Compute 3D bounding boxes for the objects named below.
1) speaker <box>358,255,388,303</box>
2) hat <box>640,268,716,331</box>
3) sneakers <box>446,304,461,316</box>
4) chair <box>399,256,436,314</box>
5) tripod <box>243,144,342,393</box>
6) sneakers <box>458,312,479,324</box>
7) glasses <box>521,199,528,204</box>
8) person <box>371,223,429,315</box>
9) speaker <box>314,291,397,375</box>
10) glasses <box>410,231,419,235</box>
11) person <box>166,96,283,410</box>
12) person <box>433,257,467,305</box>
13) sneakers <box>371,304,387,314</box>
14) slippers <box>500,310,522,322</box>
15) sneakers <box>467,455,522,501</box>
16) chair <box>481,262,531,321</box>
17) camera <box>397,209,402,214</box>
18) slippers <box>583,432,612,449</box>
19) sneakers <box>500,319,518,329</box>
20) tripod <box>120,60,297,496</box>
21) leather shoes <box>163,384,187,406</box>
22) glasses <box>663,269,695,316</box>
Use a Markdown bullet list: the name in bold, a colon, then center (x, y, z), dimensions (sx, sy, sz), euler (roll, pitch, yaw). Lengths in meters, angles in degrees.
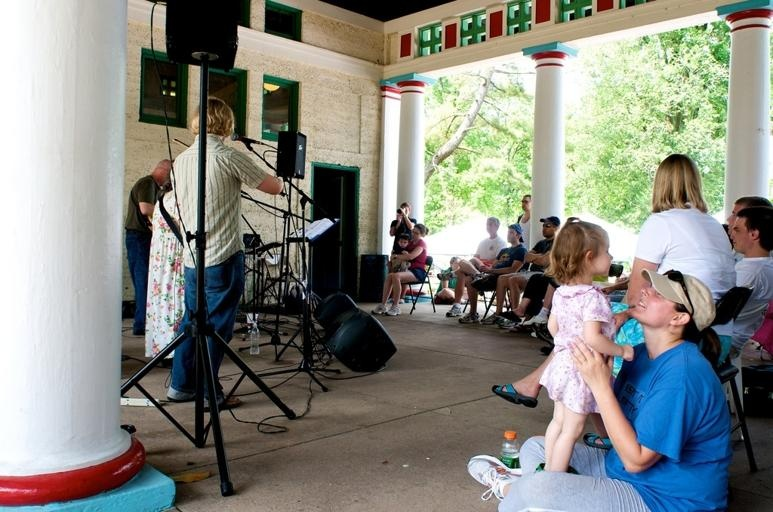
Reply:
- **speaker**: center (-0.314, 0.447, 12.341), dimensions (0.585, 0.835, 0.564), euler (-5, 3, 10)
- **hat**: center (1.321, 0.183, 2.803), dimensions (0.315, 0.163, 0.209), euler (40, 9, 2)
- **sneakers**: center (1.069, 0.875, 9.702), dimensions (0.124, 0.144, 0.352), euler (0, -5, 30)
- **chair**: center (0.575, 0.481, 11.075), dimensions (0.668, 0.893, 0.528), euler (-9, 8, -2)
- **tripod**: center (-1.128, -0.213, 6.836), dimensions (1.167, 2.432, 1.015), euler (-7, 34, -14)
- **sneakers**: center (1.216, 0.933, 8.950), dimensions (0.336, 0.138, 0.120), euler (0, -3, -13)
- **glasses**: center (2.329, -0.905, 10.347), dimensions (0.064, 0.045, 0.088), euler (-4, -8, 41)
- **person**: center (0.259, 0.218, 9.792), dimensions (0.853, 1.442, 0.641), euler (1, 7, -10)
- **speaker**: center (-0.348, 0.758, 6.096), dimensions (0.596, 0.601, 0.919), euler (-1, 6, -22)
- **glasses**: center (0.452, -0.360, 9.816), dimensions (0.088, 0.065, 0.099), euler (12, 32, 1)
- **person**: center (-1.180, 0.016, 4.625), dimensions (0.936, 2.313, 0.749), euler (5, 7, 29)
- **person**: center (1.219, 0.400, 11.089), dimensions (0.685, 0.767, 0.640), euler (-7, 7, -36)
- **sneakers**: center (-0.091, 0.860, 9.802), dimensions (0.131, 0.100, 0.249), euler (3, -3, -28)
- **slippers**: center (1.792, 0.863, 8.785), dimensions (0.309, 0.116, 0.112), euler (6, 4, 29)
- **sneakers**: center (0.603, 1.239, 3.454), dimensions (0.156, 0.119, 0.360), euler (-27, 8, -29)
- **chair**: center (1.692, 0.419, 8.610), dimensions (0.576, 0.916, 0.801), euler (7, -6, 28)
- **camera**: center (0.227, -0.754, 10.596), dimensions (0.086, 0.079, 0.087), euler (-18, -30, 32)
- **slippers**: center (1.288, 1.129, 3.766), dimensions (0.126, 0.063, 0.277), euler (-2, 4, 7)
- **sneakers**: center (1.666, 0.948, 8.439), dimensions (0.270, 0.105, 0.094), euler (-2, 9, -3)
- **tripod**: center (-1.229, 0.109, 4.215), dimensions (1.495, 2.239, 1.329), euler (12, 11, 31)
- **leather shoes**: center (-1.544, 1.042, 4.601), dimensions (0.229, 0.088, 0.081), euler (0, 4, -29)
- **glasses**: center (1.316, 0.161, 2.747), dimensions (0.055, 0.164, 0.147), euler (-8, 6, -17)
